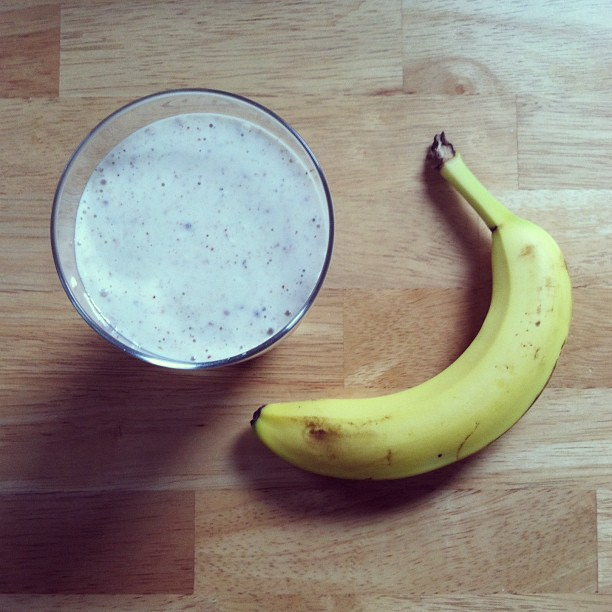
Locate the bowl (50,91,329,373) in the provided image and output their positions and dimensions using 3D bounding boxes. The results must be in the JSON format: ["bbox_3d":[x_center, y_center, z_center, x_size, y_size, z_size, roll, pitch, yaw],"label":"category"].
[{"bbox_3d":[-0.129,-0.080,0.999,0.466,0.182,0.301,0,90,4],"label":"bowl"}]
